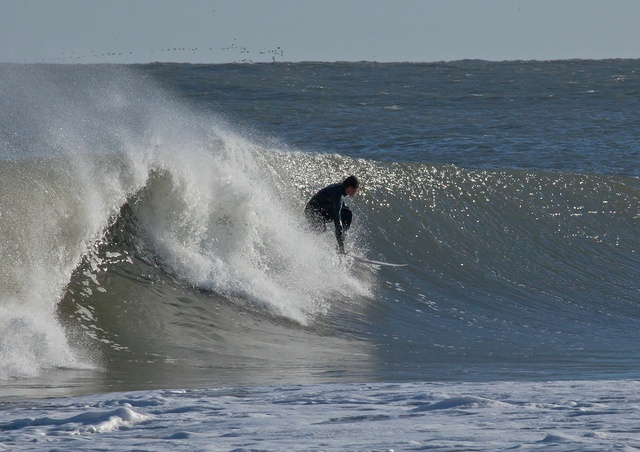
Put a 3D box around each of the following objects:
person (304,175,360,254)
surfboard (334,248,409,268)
[{"bbox_3d":[0.199,-0.266,18.652,0.643,1.207,1.227,0,11,-14],"label":"person"},{"bbox_3d":[0.806,0.510,19.640,1.193,0.149,0.120,11,5,-22],"label":"surfboard"}]
